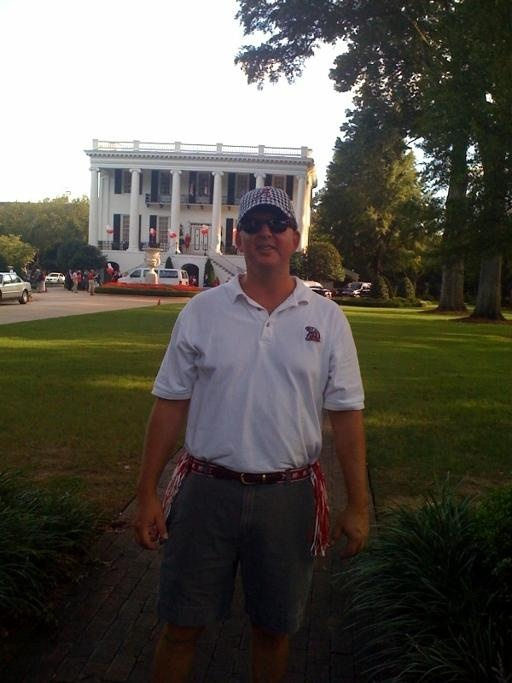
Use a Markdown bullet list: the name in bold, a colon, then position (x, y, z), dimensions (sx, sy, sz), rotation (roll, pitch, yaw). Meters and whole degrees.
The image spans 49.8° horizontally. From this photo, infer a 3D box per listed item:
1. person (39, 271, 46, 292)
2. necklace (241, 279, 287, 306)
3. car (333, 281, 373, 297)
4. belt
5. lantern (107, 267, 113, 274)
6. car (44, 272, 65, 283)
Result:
- **person**: position (-16.075, -4.452, 41.013), dimensions (0.351, 1.398, 0.816), rotation (0, 2, -27)
- **necklace**: position (0.033, -0.146, 1.733), dimensions (0.085, 0.054, 0.116), rotation (0, -6, 1)
- **car**: position (9.642, -5.094, 53.721), dimensions (3.107, 1.380, 1.893), rotation (-2, 2, -36)
- **belt**: position (-0.021, 0.363, 1.536), dimensions (0.326, 0.056, 0.092), rotation (1, 2, -4)
- **lantern**: position (-14.852, -7.089, 55.287), dimensions (0.366, 0.814, 1.451), rotation (0, 3, -30)
- **car**: position (-23.878, -7.366, 64.629), dimensions (1.904, 1.674, 5.399), rotation (0, 3, -22)
